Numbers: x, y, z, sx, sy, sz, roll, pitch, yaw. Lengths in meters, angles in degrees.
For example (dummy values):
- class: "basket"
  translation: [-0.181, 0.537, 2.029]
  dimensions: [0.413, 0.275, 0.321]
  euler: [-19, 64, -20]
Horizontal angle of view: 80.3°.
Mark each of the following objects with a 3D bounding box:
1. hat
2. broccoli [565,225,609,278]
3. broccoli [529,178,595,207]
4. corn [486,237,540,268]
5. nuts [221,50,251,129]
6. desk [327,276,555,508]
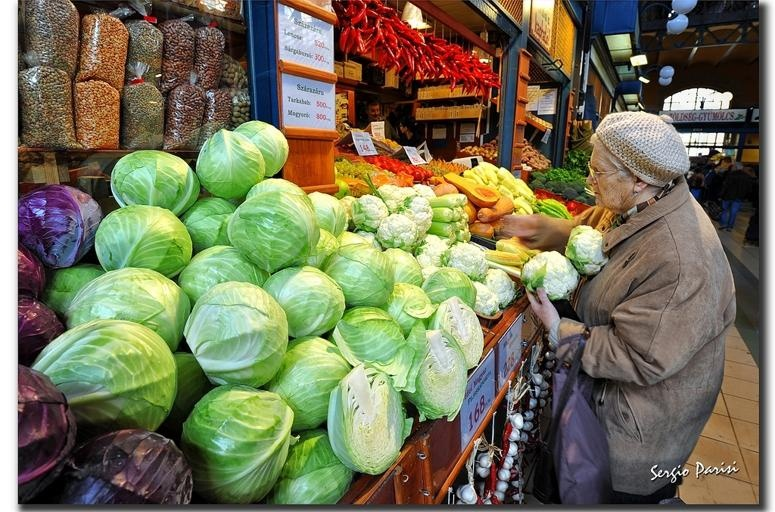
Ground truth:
- class: "hat"
  translation: [1.294, -0.532, 2.422]
  dimensions: [0.418, 0.284, 0.345]
  euler: [42, 35, 24]
- class: "broccoli"
  translation: [1.101, -0.045, 2.648]
  dimensions: [0.209, 0.266, 0.230]
  euler: [6, 32, 10]
- class: "broccoli"
  translation: [2.103, -0.750, 5.580]
  dimensions: [0.631, 0.241, 0.630]
  euler: [10, 12, 21]
- class: "corn"
  translation: [0.851, -0.019, 3.179]
  dimensions: [0.254, 0.080, 0.262]
  euler: [10, 21, 24]
- class: "nuts"
  translation: [-0.824, -0.902, 2.490]
  dimensions: [0.222, 0.314, 0.142]
  euler: [-2, 9, -24]
- class: "desk"
  translation: [0.231, 0.587, 2.023]
  dimensions: [0.276, 0.298, 1.440]
  euler: [3, 12, 21]
